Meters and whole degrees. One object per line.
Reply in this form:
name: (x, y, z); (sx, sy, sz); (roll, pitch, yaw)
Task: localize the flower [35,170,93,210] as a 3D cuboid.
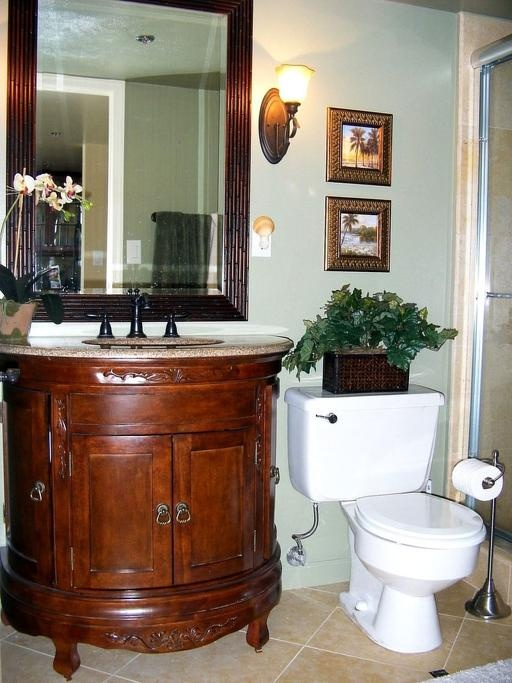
flower: (-0.572, -0.441, 1.746); (0.153, 0.083, 0.099); (15, 23, 35)

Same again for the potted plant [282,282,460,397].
potted plant: (0.354, 0.001, 1.926); (0.468, 0.296, 0.358); (-2, 5, -7)

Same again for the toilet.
toilet: (0.373, 0.537, 1.844); (0.546, 0.761, 0.538); (0, 1, 0)

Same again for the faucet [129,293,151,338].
faucet: (-0.354, -0.075, 1.801); (0.057, 0.135, 0.108); (0, 1, -4)

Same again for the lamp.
lamp: (0.099, -0.751, 1.981); (0.149, 0.300, 0.161); (0, 1, -17)
